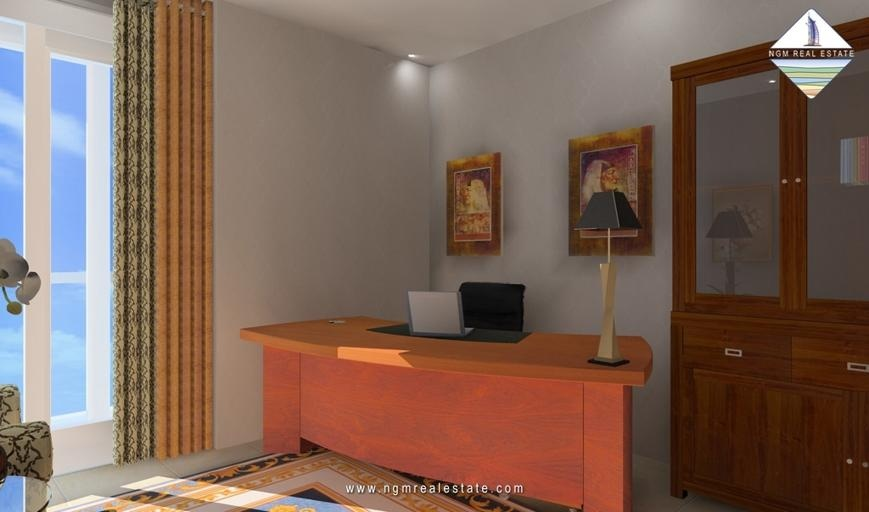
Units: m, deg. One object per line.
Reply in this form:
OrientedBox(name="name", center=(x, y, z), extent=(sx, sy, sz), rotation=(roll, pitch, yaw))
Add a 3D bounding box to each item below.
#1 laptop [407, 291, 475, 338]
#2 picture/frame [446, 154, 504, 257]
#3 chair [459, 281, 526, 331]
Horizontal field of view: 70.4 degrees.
OrientedBox(name="laptop", center=(0.009, 0.510, 5.417), extent=(0.504, 0.347, 0.413), rotation=(-1, -3, 17))
OrientedBox(name="picture/frame", center=(0.457, -0.593, 7.227), extent=(0.769, 1.075, 0.116), rotation=(-3, -1, 43))
OrientedBox(name="chair", center=(0.634, 0.534, 6.508), extent=(0.510, 0.687, 0.592), rotation=(-1, -6, 18))
